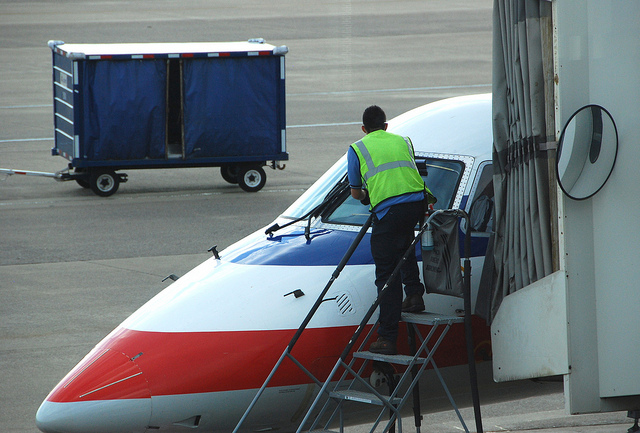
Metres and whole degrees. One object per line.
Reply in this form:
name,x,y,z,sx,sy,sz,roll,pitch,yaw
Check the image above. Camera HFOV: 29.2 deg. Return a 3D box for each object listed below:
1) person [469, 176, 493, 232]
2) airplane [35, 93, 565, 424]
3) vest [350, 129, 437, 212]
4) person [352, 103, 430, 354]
person,2.381,-0.206,18.321,0.152,0.693,0.704,9,-3,11
airplane,0.501,0.752,19.041,8.751,4.302,3.681,-19,21,-28
vest,1.034,-0.569,18.176,1.090,1.379,0.697,-9,-19,-20
person,1.025,0.149,17.932,1.045,3.526,1.055,3,5,29
